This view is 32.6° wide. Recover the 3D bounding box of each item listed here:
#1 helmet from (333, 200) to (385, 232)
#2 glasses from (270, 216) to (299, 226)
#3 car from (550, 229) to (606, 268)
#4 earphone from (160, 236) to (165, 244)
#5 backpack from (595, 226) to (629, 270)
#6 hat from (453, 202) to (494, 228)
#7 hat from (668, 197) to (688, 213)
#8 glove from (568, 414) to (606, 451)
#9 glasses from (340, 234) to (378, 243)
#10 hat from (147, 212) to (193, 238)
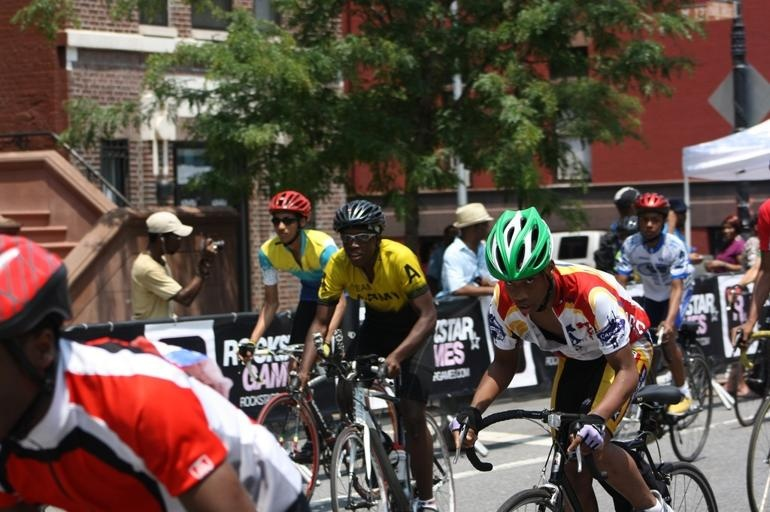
[{"bbox_3d":[-0.296,-0.451,15.433,0.588,0.375,0.286,-1,0,-2],"label":"helmet"},{"bbox_3d":[-1.277,-0.441,16.591,0.343,0.121,0.099,-1,0,15],"label":"glasses"},{"bbox_3d":[4.658,-0.256,31.174,0.958,0.880,1.550,2,-8,-28],"label":"car"},{"bbox_3d":[-2.973,-0.219,17.485,0.065,0.094,0.026,1,7,5],"label":"earphone"},{"bbox_3d":[3.447,-0.064,20.119,0.587,0.637,0.424,1,2,6],"label":"backpack"},{"bbox_3d":[1.284,-0.647,18.363,0.477,0.189,0.404,-16,5,-22],"label":"hat"},{"bbox_3d":[4.673,-0.802,20.823,0.316,0.179,0.236,1,14,13],"label":"hat"},{"bbox_3d":[2.171,1.911,14.036,0.292,0.223,0.398,26,-21,3],"label":"glove"},{"bbox_3d":[-0.303,-0.210,15.380,0.406,0.101,0.139,-1,0,-5],"label":"glasses"},{"bbox_3d":[-2.893,-0.418,17.548,0.512,0.269,0.345,3,8,-8],"label":"hat"}]
